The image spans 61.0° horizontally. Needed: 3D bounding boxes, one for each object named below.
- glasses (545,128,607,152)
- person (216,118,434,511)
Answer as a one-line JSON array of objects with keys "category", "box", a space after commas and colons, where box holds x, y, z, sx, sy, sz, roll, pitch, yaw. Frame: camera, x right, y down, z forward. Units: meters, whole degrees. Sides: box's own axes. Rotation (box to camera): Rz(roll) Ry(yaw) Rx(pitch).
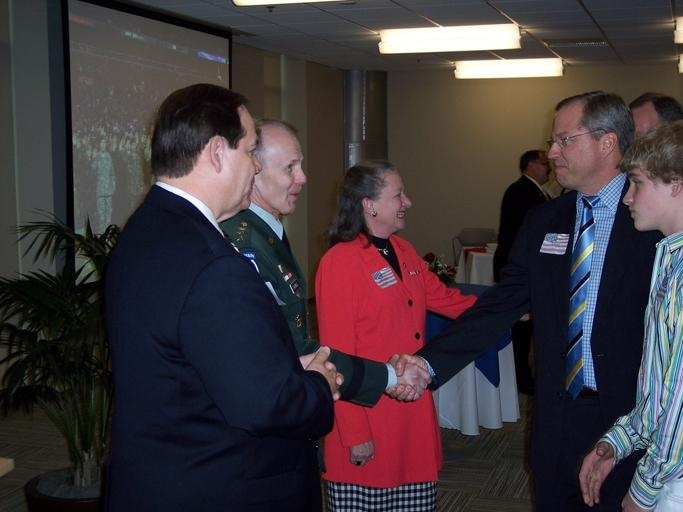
[{"category": "glasses", "box": [0.895, -0.442, 2.192, 0.119, 0.037, 0.125, -8, -4, -16]}, {"category": "person", "box": [-0.079, 0.182, 2.139, 0.698, 1.317, 0.529, 1, 12, 16]}]
